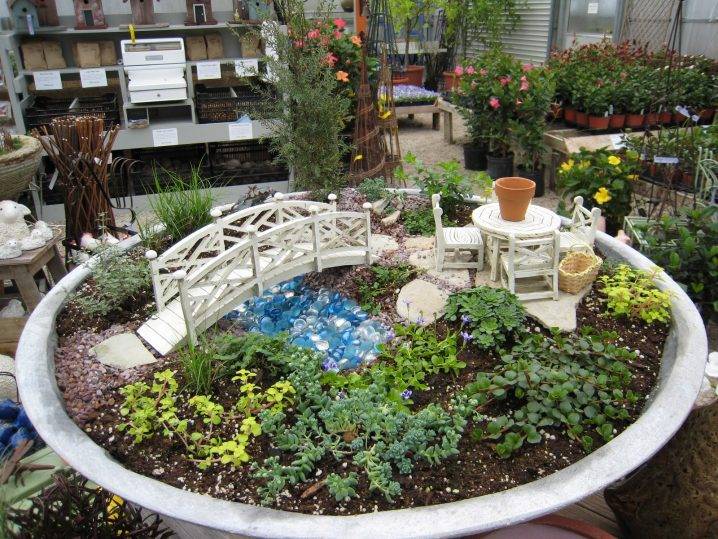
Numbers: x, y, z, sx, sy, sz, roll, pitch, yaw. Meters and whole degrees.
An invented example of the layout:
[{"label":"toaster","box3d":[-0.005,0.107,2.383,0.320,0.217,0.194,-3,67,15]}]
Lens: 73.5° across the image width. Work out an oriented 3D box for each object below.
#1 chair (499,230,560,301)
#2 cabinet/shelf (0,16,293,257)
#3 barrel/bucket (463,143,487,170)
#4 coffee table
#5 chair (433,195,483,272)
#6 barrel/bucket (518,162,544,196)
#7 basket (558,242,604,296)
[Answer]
[{"label":"chair","box3d":[1.203,-0.033,3.372,0.353,0.571,0.345,-4,58,11]},{"label":"cabinet/shelf","box3d":[-2.508,-1.669,5.681,2.744,2.100,2.903,21,33,37]},{"label":"barrel/bucket","box3d":[1.797,-1.753,7.535,0.385,0.357,0.398,-1,32,1]},{"label":"coffee table","box3d":[1.140,-0.337,3.589,0.607,0.409,0.587,-5,49,3]},{"label":"chair","box3d":[0.799,-0.280,3.959,0.439,0.565,0.380,-6,52,3]},{"label":"barrel/bucket","box3d":[2.402,-1.250,6.667,0.333,0.354,0.523,2,26,6]},{"label":"basket","box3d":[1.575,0.002,3.435,0.275,0.260,0.168,-35,53,-25]}]
